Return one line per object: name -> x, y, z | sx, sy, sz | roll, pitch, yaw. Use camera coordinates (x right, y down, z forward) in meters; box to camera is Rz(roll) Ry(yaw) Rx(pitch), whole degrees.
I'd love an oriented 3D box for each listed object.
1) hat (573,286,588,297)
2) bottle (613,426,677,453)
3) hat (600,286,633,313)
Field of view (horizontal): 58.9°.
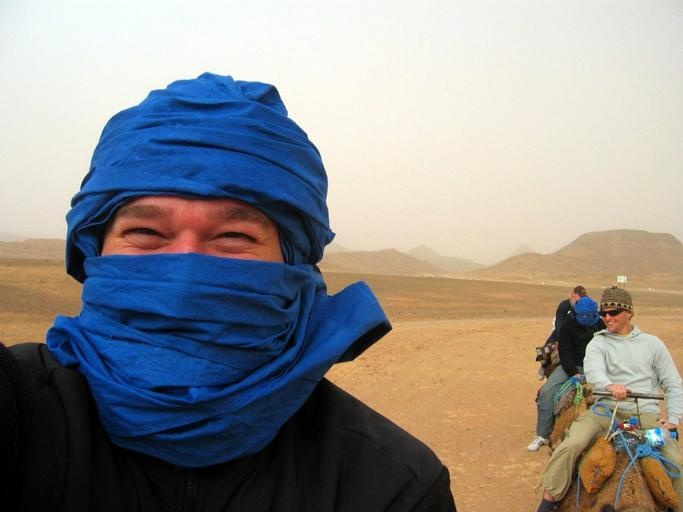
hat -> 3.514, 0.515, 8.818 | 0.219, 0.110, 0.245 | 3, 3, -9
bottle -> 2.464, 1.486, 4.924 | 0.452, 0.085, 0.221 | -2, -5, 19
hat -> 2.586, 0.407, 5.740 | 0.383, 0.214, 0.373 | -5, -11, 41
